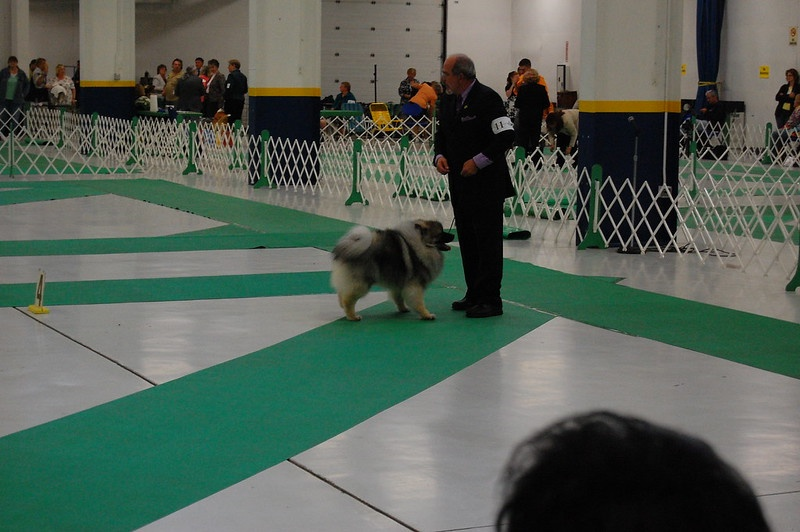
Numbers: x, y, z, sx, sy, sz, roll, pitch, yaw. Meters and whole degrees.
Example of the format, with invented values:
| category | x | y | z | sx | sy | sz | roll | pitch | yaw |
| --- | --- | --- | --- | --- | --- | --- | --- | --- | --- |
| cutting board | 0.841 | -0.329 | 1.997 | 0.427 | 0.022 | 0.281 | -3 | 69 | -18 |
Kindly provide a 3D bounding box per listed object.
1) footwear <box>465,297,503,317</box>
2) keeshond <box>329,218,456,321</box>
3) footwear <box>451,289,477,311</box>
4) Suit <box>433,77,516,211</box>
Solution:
| category | x | y | z | sx | sy | sz | roll | pitch | yaw |
| --- | --- | --- | --- | --- | --- | --- | --- | --- | --- |
| footwear | 0.696 | 0.341 | 5.805 | 0.274 | 0.140 | 0.128 | 3 | 5 | -15 |
| keeshond | -0.071 | 0.024 | 5.667 | 0.882 | 0.769 | 0.638 | -1 | 6 | -12 |
| footwear | 0.540 | 0.308 | 6.068 | 0.232 | 0.176 | 0.103 | 4 | 3 | 29 |
| Suit | 0.591 | -1.002 | 5.707 | 0.762 | 0.917 | 0.415 | 13 | 18 | 43 |
